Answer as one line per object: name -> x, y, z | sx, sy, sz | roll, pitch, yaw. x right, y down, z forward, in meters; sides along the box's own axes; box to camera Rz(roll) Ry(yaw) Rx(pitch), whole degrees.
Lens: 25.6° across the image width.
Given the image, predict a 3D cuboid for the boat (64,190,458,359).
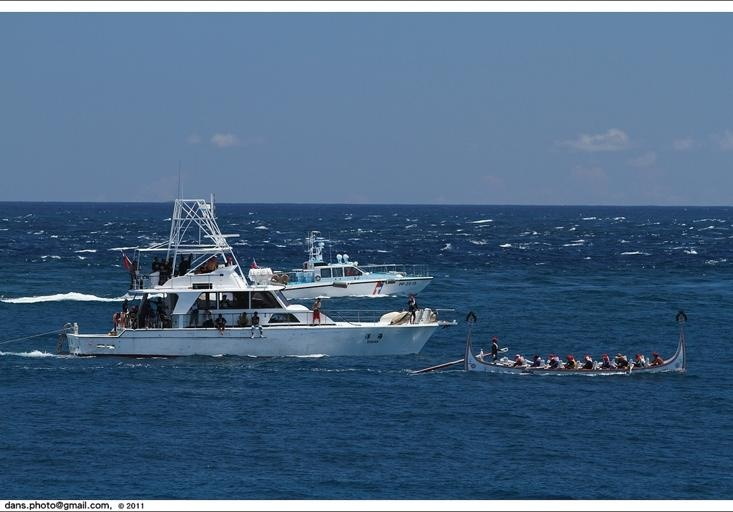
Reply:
boat -> -8.952, 1.535, 127.917 | 30.313, 12.172, 8.404 | -1, 15, -5
